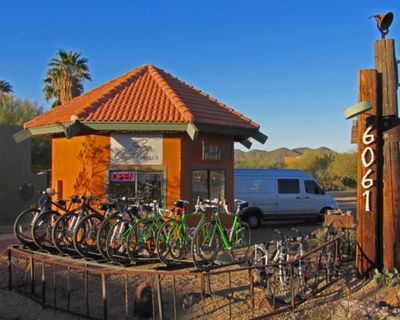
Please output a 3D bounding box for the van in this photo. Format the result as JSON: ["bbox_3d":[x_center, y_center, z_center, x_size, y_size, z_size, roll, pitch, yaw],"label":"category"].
[{"bbox_3d":[3.416,1.490,19.038,4.416,2.363,2.084,-2,-1,-13],"label":"van"}]
